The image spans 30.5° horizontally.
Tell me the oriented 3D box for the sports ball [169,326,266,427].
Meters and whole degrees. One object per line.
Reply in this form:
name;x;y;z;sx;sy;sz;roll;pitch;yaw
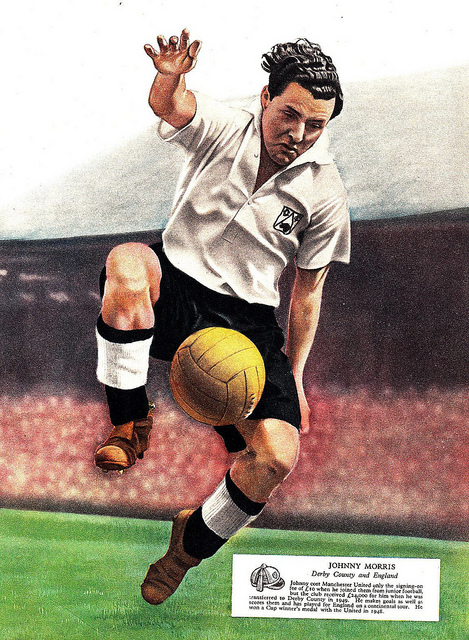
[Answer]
sports ball;-0.055;0.166;2.538;0.271;0.238;0.206;5;31;9

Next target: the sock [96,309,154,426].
sock;-0.336;0.151;2.615;0.181;0.378;0.098;-3;32;-4
